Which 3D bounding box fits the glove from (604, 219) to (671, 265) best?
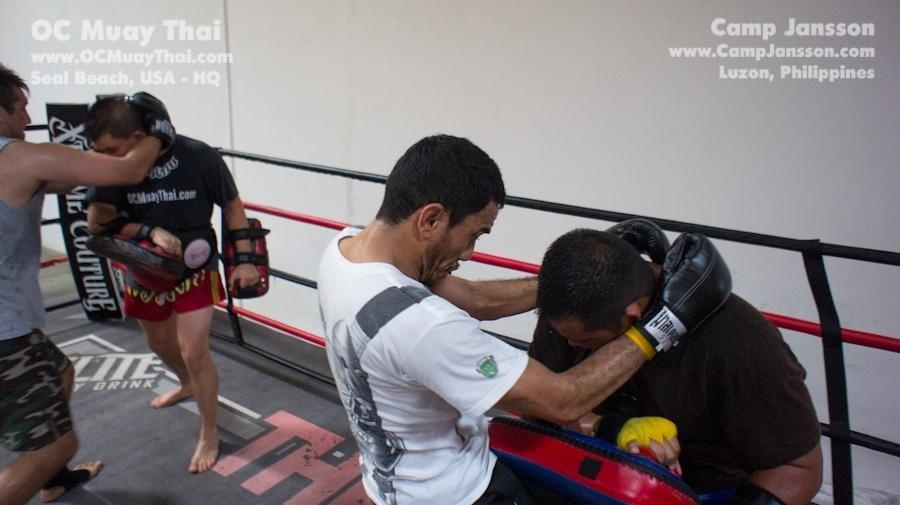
[{"bbox_3d":[1.246,-0.107,3.670,0.306,0.140,0.357,-23,48,-18],"label":"glove"}]
